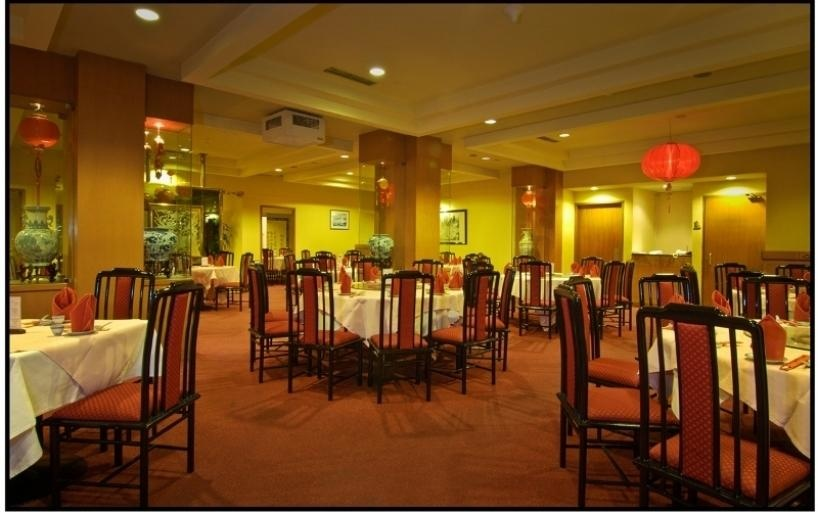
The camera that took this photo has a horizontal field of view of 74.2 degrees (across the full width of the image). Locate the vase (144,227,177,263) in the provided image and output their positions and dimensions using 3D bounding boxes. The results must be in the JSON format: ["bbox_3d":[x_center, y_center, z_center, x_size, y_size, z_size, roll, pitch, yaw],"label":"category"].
[{"bbox_3d":[-3.250,-0.159,6.965,0.434,0.445,0.415,-1,2,-35],"label":"vase"}]

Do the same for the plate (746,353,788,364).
[{"bbox_3d":[2.652,0.752,4.015,0.302,0.079,0.089,2,0,1],"label":"plate"}]

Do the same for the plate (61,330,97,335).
[{"bbox_3d":[-2.671,0.612,4.393,0.246,0.042,0.101,2,0,-11],"label":"plate"}]

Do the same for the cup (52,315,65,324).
[{"bbox_3d":[-2.829,0.505,4.369,0.074,0.057,0.075,0,-8,0],"label":"cup"}]

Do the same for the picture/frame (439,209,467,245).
[{"bbox_3d":[1.190,-0.776,14.098,1.113,1.020,0.039,2,2,40],"label":"picture/frame"}]

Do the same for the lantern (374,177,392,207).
[{"bbox_3d":[-0.456,-1.173,9.748,0.247,0.516,0.303,2,0,41],"label":"lantern"}]

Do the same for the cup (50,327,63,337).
[{"bbox_3d":[-2.824,0.601,4.351,0.083,0.053,0.079,0,-5,0],"label":"cup"}]

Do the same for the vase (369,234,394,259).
[{"bbox_3d":[-0.418,-0.173,9.296,0.425,0.409,0.403,0,-9,4],"label":"vase"}]

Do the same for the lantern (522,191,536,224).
[{"bbox_3d":[2.737,-1.156,12.217,0.348,0.826,0.776,2,0,11],"label":"lantern"}]

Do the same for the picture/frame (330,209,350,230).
[{"bbox_3d":[-2.030,-1.102,16.145,0.092,0.578,0.723,2,0,39],"label":"picture/frame"}]
